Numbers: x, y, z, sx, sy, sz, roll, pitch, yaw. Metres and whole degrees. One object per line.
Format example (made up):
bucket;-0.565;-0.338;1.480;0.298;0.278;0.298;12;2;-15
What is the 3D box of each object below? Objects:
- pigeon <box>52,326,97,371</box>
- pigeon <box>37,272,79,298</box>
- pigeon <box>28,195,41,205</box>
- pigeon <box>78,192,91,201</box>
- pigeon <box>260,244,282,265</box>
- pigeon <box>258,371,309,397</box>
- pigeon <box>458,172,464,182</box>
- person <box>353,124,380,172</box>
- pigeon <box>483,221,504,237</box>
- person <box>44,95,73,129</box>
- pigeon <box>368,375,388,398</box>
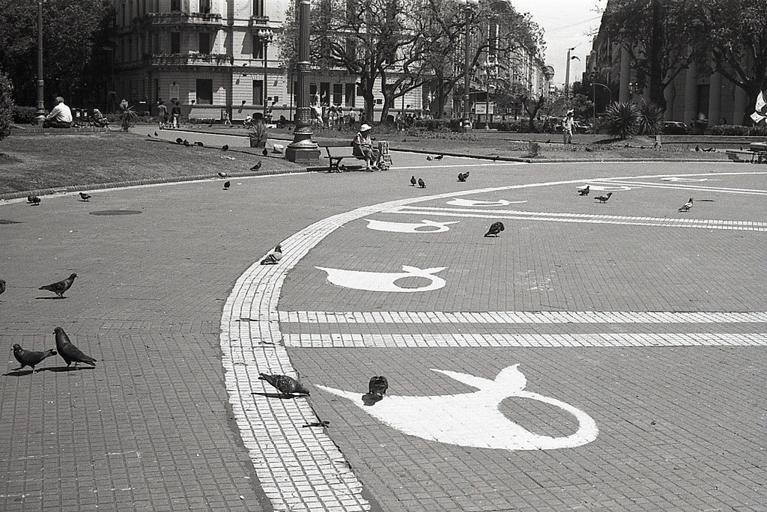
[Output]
pigeon;-3.194;0.964;9.927;0.393;0.460;0.572;-2;10;-17
pigeon;-4.223;0.376;12.377;0.424;0.314;0.605;-2;10;-19
pigeon;-7.555;-1.218;20.627;0.272;0.165;0.331;6;3;-16
pigeon;-6.746;-1.335;21.416;0.219;0.284;0.407;2;3;9
pigeon;-1.706;-0.035;14.597;0.269;0.267;0.455;3;10;12
pigeon;-0.986;1.292;9.522;0.536;0.236;0.303;6;11;25
pigeon;2.325;-2.345;28.220;0.211;0.214;0.059;0;11;-19
person;-0.602;-3.884;33.517;0.958;1.467;2.988;1;10;-2
pigeon;1.992;-0.489;17.352;0.414;0.278;0.214;2;17;38
person;-13.183;-5.860;38.676;0.995;1.263;2.846;-2;10;-20
pigeon;-0.038;1.317;9.514;0.167;0.197;0.212;3;-5;6
